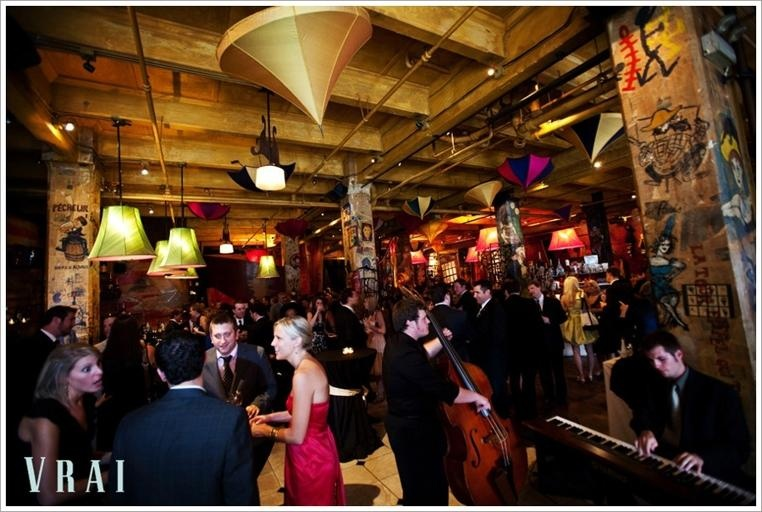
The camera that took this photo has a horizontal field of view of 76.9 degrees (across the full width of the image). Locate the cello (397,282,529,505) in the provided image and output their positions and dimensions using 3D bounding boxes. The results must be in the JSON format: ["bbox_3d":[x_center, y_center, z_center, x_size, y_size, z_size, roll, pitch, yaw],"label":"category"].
[{"bbox_3d":[1.038,1.618,5.212,1.044,2.044,0.585,-1,-6,6],"label":"cello"}]

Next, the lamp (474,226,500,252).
[{"bbox_3d":[3.160,-0.539,14.250,0.586,0.662,0.883,-1,-5,10],"label":"lamp"}]

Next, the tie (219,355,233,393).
[{"bbox_3d":[-1.833,1.390,5.695,0.123,0.427,0.133,-4,-9,-7],"label":"tie"}]

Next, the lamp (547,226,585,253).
[{"bbox_3d":[6.810,-0.651,17.537,1.355,0.718,1.155,-9,4,-26],"label":"lamp"}]

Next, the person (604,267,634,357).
[{"bbox_3d":[3.541,0.894,7.164,0.365,1.178,1.415,-3,-6,26],"label":"person"}]

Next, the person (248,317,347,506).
[{"bbox_3d":[-0.803,1.619,4.946,0.825,1.980,0.428,0,-6,-6],"label":"person"}]

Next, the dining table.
[{"bbox_3d":[-0.487,2.159,7.403,0.984,1.096,1.169,0,-9,-3],"label":"dining table"}]

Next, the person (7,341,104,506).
[{"bbox_3d":[-3.034,1.614,4.583,0.680,1.516,0.375,4,-7,-36],"label":"person"}]

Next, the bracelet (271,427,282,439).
[{"bbox_3d":[-1.074,1.797,4.889,0.041,0.107,0.099,-17,36,1],"label":"bracelet"}]

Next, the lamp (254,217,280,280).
[{"bbox_3d":[-3.506,-0.292,15.210,0.575,1.938,0.630,7,-24,-27],"label":"lamp"}]

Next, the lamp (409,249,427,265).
[{"bbox_3d":[1.480,-0.005,19.476,0.645,0.624,0.614,-2,-13,-1],"label":"lamp"}]
